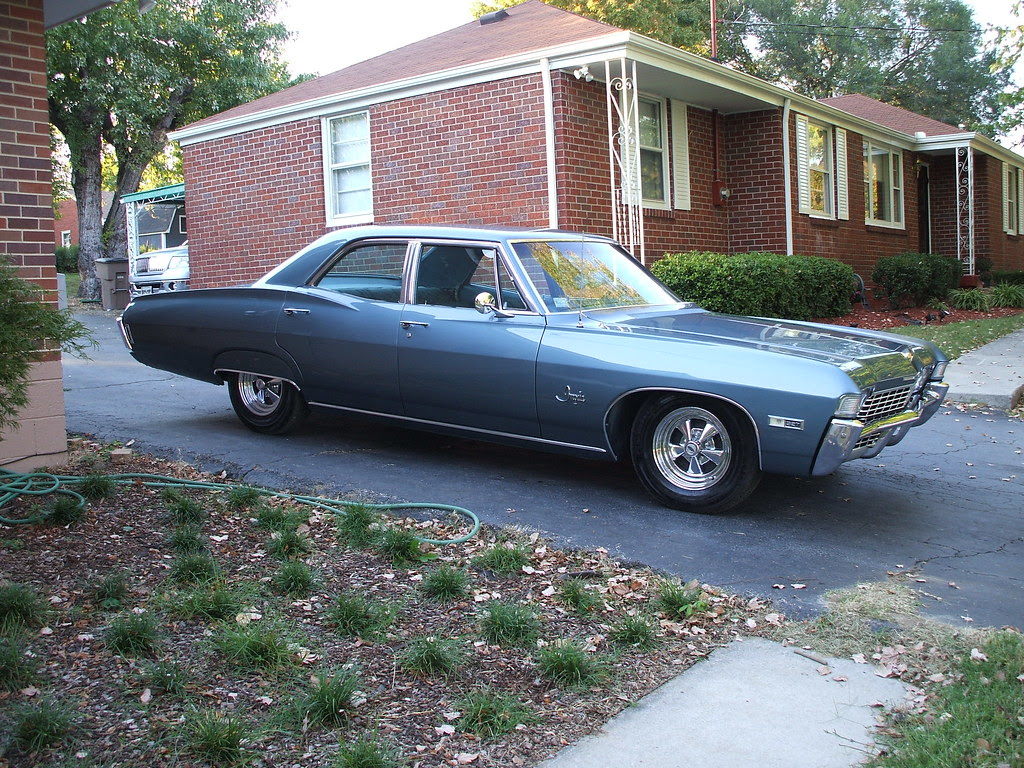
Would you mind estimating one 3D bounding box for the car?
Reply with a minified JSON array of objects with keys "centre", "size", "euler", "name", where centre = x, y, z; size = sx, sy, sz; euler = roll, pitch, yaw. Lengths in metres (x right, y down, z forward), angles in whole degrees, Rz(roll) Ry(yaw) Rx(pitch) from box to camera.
[{"centre":[-0.260,-0.252,6.229],"size":[6.269,1.278,2.576],"euler":[4,11,27],"name":"car"}]
